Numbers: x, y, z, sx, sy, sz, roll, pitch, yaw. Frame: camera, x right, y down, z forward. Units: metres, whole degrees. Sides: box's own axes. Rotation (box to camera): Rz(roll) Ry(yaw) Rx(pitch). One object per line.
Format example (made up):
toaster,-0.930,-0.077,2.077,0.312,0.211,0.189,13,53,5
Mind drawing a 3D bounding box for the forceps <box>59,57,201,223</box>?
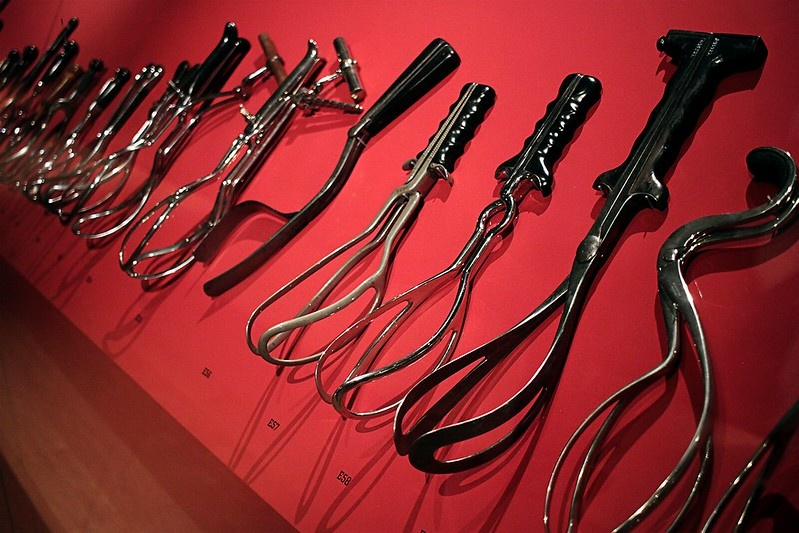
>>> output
forceps,-0.863,-0.393,2.346,0.141,0.574,0.154,23,-17,23
